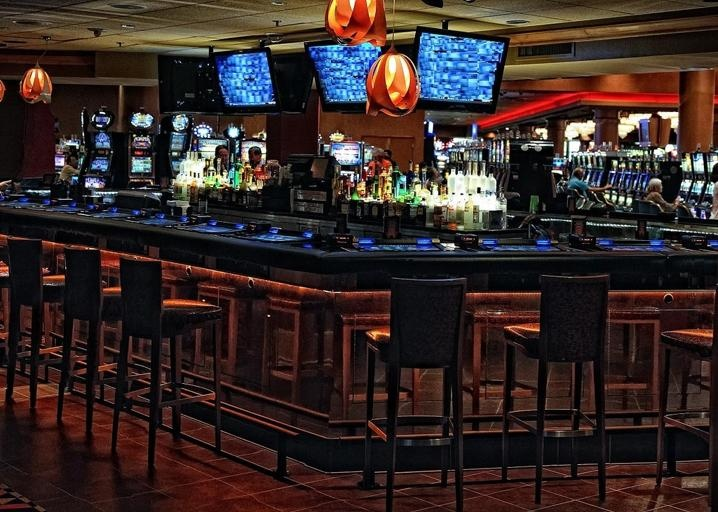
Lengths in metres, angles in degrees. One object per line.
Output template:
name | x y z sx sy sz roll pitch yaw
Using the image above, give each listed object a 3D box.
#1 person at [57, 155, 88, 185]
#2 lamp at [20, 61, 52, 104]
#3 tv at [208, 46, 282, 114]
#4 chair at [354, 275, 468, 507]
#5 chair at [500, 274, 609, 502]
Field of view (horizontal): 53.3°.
person | -6.075 -1.846 15.027 0.418 0.579 1.538 -2 11 -21
lamp | -4.610 -2.466 10.186 0.365 0.462 0.449 -1 11 -14
tv | -1.530 -2.375 9.648 1.135 0.814 0.225 11 14 41
chair | 0.369 0.848 4.672 0.687 1.474 0.901 3 11 5
chair | 1.358 0.830 4.875 0.747 1.464 0.820 3 11 6
